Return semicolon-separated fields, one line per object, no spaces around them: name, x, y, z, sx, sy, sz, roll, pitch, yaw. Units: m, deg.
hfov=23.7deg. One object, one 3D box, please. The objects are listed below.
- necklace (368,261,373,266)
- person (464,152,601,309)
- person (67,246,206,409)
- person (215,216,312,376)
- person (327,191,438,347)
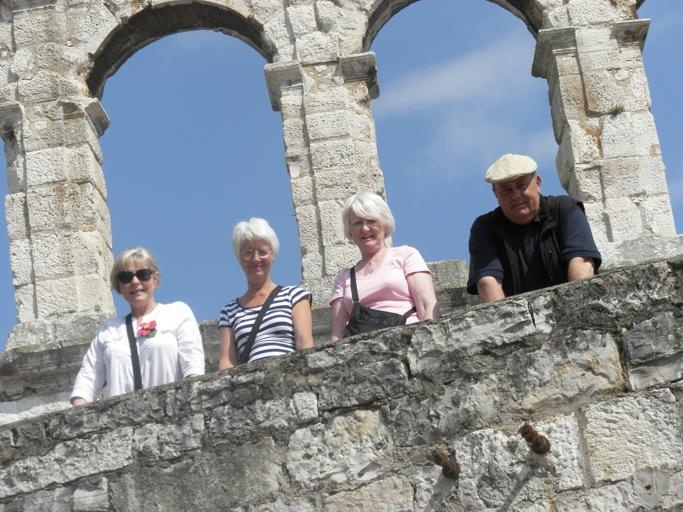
necklace;0.223;0.049;12.380;0.034;0.033;0.013;-1;-22;-2
person;1.410;-0.124;12.136;0.879;1.218;1.021;-15;-9;28
person;-1.576;0.603;12.407;0.979;1.390;0.774;-7;-15;-1
person;-0.598;0.462;12.403;0.768;1.659;0.392;-12;-29;8
person;0.246;0.016;12.361;0.815;1.093;0.419;-9;-9;-1
